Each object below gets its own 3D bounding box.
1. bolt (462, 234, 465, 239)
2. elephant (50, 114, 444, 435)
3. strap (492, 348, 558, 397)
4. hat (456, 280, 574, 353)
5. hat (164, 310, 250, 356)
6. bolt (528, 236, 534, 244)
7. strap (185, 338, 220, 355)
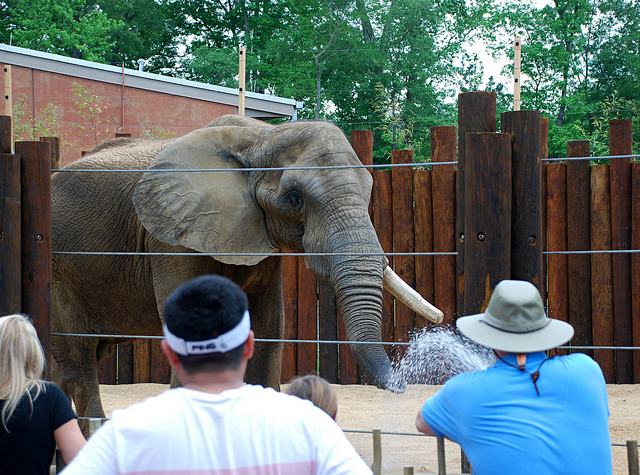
[{"bbox_3d":[1.070,-0.008,8.209,0.016,0.032,0.011,5,-4,-2],"label":"bolt"},{"bbox_3d":[-1.135,0.520,10.320,4.663,2.775,2.169,-8,-7,26],"label":"elephant"},{"bbox_3d":[1.465,0.939,7.444,0.253,0.271,0.038,-35,-19,-18],"label":"strap"},{"bbox_3d":[1.364,0.513,7.766,0.808,0.396,0.786,-7,12,-24],"label":"hat"},{"bbox_3d":[-0.735,0.532,6.922,0.502,0.133,0.523,-7,-11,5],"label":"hat"},{"bbox_3d":[1.571,0.020,8.191,0.052,0.053,0.014,2,-5,10],"label":"bolt"},{"bbox_3d":[-0.751,0.687,6.969,0.205,0.099,0.034,0,2,-9],"label":"strap"}]
